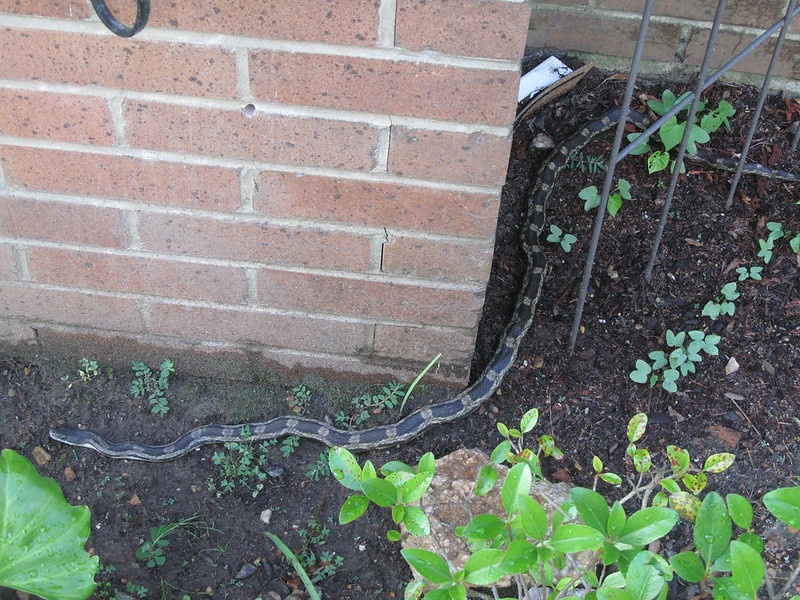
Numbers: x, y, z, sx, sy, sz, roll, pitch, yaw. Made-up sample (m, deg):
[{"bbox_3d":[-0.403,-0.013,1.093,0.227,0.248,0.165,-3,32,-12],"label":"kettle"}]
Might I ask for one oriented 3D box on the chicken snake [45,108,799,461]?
[{"bbox_3d":[0.034,-0.003,3.130,3.075,0.164,0.811,-25,71,6],"label":"chicken snake"}]
